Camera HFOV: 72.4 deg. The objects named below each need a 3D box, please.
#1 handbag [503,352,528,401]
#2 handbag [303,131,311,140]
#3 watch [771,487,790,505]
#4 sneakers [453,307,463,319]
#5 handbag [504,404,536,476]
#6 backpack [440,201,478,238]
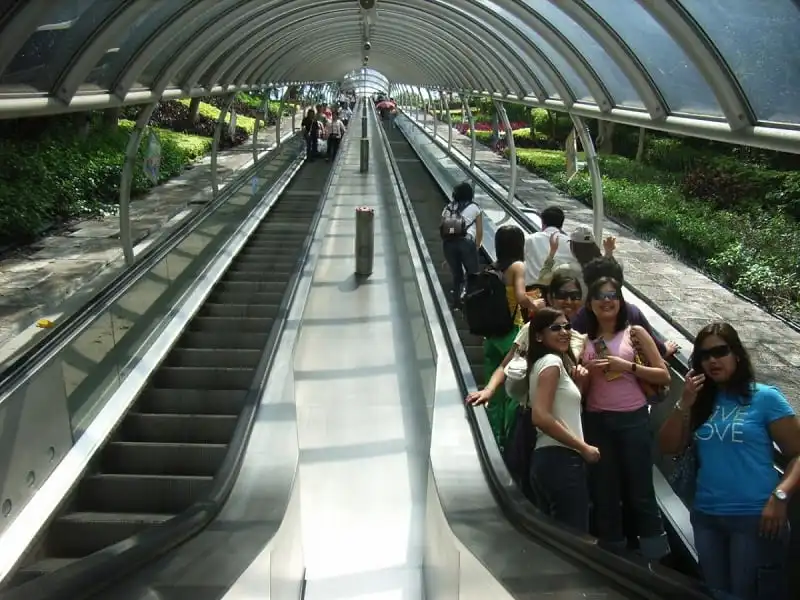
[{"bbox_3d":[0.869,0.540,4.050,0.157,0.333,0.338,4,21,10],"label":"handbag"},{"bbox_3d":[-4.004,-7.120,23.664,0.364,0.344,0.090,4,-2,38],"label":"handbag"},{"bbox_3d":[2.293,1.170,3.304,0.066,0.103,0.096,-34,-23,0],"label":"watch"},{"bbox_3d":[0.913,0.191,8.441,0.147,0.136,0.099,-1,-7,0],"label":"sneakers"},{"bbox_3d":[0.901,1.035,4.073,0.243,0.597,0.155,10,22,24],"label":"handbag"},{"bbox_3d":[0.920,-1.138,8.023,0.405,0.563,0.578,-2,-12,24],"label":"backpack"}]
